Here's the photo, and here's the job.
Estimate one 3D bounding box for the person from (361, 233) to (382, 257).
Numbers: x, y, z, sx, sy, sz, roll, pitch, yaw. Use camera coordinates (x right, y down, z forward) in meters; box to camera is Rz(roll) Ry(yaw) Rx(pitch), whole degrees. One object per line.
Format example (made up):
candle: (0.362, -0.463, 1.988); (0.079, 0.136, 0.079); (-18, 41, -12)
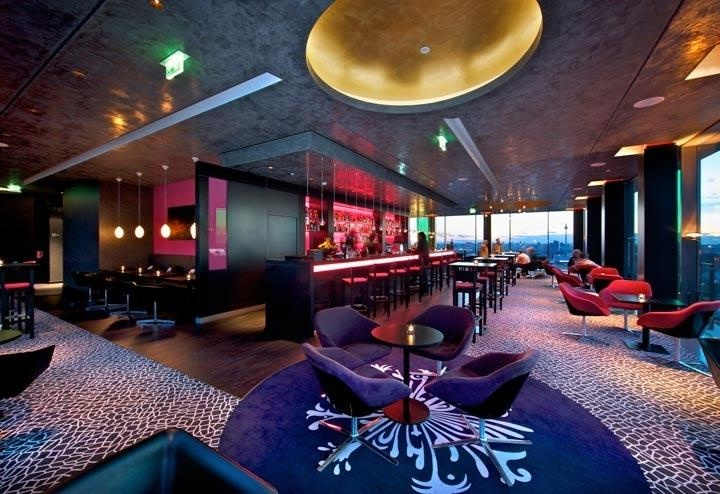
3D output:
person: (0.300, -0.045, 13.540); (0.508, 0.486, 0.945); (10, 7, 2)

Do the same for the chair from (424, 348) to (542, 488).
chair: (1.609, 2.082, 6.243); (1.643, 1.658, 1.592); (-2, -2, 38)

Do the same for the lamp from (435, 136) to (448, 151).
lamp: (1.501, -1.906, 8.331); (0.114, 0.256, 0.197); (-7, 6, 39)

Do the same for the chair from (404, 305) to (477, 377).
chair: (1.193, 1.470, 6.679); (1.046, 1.022, 0.936); (5, 13, 37)

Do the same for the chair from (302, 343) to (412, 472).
chair: (-0.030, 1.990, 5.969); (1.346, 1.362, 1.358); (9, 10, 39)
